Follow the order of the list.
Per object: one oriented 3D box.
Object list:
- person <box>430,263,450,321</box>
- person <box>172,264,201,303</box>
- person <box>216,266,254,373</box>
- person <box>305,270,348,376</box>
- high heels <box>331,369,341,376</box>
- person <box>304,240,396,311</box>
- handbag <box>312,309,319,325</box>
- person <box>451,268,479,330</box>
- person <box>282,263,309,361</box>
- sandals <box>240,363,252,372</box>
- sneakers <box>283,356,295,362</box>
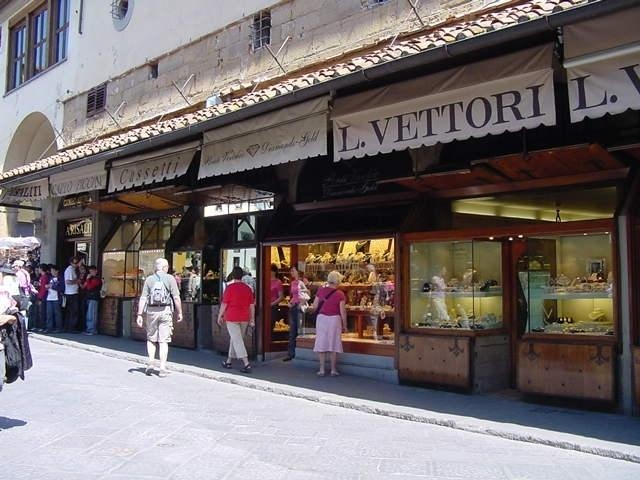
[{"bbox_3d":[2.018,0.924,10.196,0.365,0.899,0.269,0,-1,24],"label":"person"},{"bbox_3d":[-3.058,1.060,14.306,0.669,0.965,0.994,7,-11,-38],"label":"person"},{"bbox_3d":[-1.603,1.473,11.599,0.682,1.909,1.334,1,-1,-7],"label":"person"},{"bbox_3d":[0.172,1.506,11.122,0.608,1.837,0.578,1,-1,-25],"label":"person"},{"bbox_3d":[0.277,2.392,10.947,0.070,0.088,0.202,0,0,28],"label":"high heels"},{"bbox_3d":[0.606,0.541,11.403,2.090,1.010,1.131,2,-4,2],"label":"person"},{"bbox_3d":[-0.103,1.473,11.622,0.079,0.282,0.298,8,-4,-13],"label":"handbag"},{"bbox_3d":[2.340,0.933,9.936,0.392,0.944,0.291,0,-1,29],"label":"person"},{"bbox_3d":[-0.447,1.452,12.257,0.492,1.773,0.241,0,-1,35],"label":"person"},{"bbox_3d":[-1.334,2.337,11.145,0.174,0.145,0.376,1,0,-7],"label":"sandals"},{"bbox_3d":[-0.602,2.423,12.407,0.297,0.123,0.096,11,-15,-39],"label":"sneakers"}]
